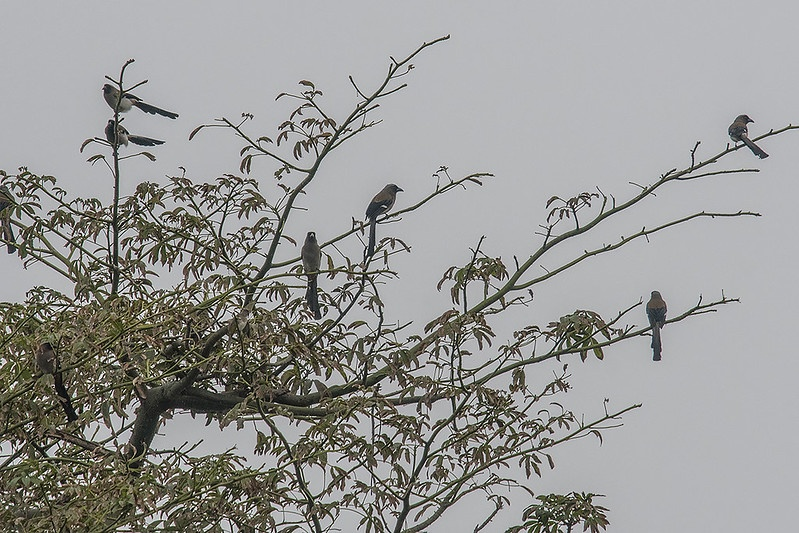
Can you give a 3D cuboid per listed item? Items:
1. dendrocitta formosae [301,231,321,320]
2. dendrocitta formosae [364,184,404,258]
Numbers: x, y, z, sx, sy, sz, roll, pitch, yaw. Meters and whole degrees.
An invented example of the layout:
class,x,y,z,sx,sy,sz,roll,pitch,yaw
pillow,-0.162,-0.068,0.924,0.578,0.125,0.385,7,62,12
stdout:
class,x,y,z,sx,sy,sz,roll,pitch,yaw
dendrocitta formosae,-0.614,0.089,8.902,0.164,0.241,0.643,-2,-98,-3
dendrocitta formosae,-0.117,-0.259,7.816,0.253,0.648,0.134,23,-50,-20
